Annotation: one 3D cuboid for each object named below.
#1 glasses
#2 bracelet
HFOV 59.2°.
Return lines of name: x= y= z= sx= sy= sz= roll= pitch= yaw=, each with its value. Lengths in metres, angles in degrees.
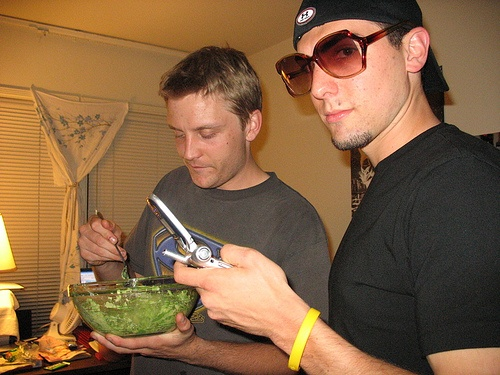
glasses: x=0.291 y=-0.433 z=1.399 sx=0.230 sy=0.074 sz=0.218 roll=-30 pitch=10 yaw=-37
bracelet: x=0.136 y=0.401 z=1.156 sx=0.033 sy=0.139 sz=0.135 roll=17 pitch=5 yaw=15
